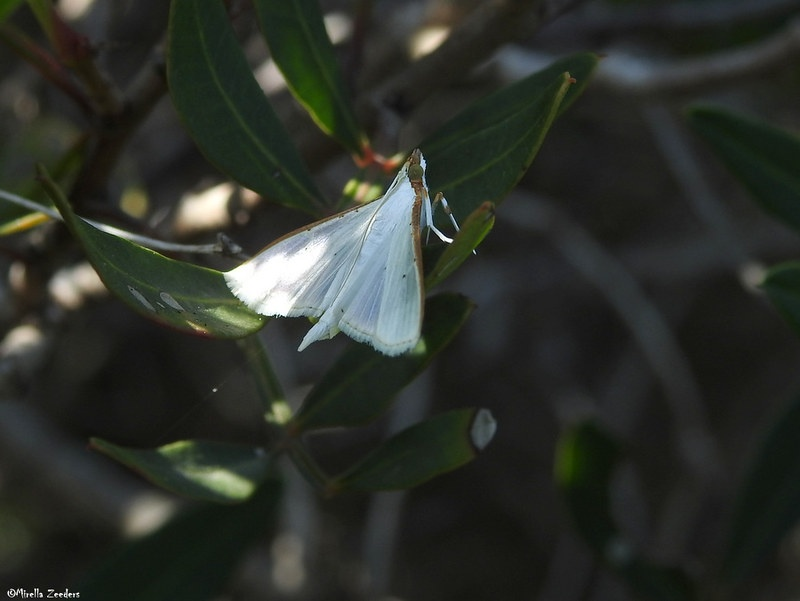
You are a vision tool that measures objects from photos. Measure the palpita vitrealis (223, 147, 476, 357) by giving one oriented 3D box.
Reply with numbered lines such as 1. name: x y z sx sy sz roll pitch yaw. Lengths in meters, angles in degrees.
1. palpita vitrealis: -0.069 -0.045 1.403 0.309 0.334 0.103 28 -4 41
